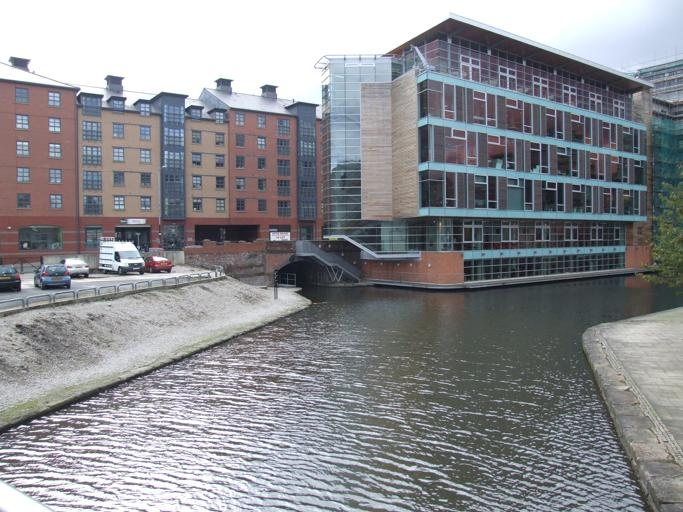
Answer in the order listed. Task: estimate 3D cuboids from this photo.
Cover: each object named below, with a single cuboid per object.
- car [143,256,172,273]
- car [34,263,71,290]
[{"bbox_3d":[-17.026,0.743,57.628,1.382,0.776,3.022,-4,8,-40],"label":"car"},{"bbox_3d":[-19.549,1.374,42.228,1.584,0.983,2.610,-2,8,-40],"label":"car"}]
